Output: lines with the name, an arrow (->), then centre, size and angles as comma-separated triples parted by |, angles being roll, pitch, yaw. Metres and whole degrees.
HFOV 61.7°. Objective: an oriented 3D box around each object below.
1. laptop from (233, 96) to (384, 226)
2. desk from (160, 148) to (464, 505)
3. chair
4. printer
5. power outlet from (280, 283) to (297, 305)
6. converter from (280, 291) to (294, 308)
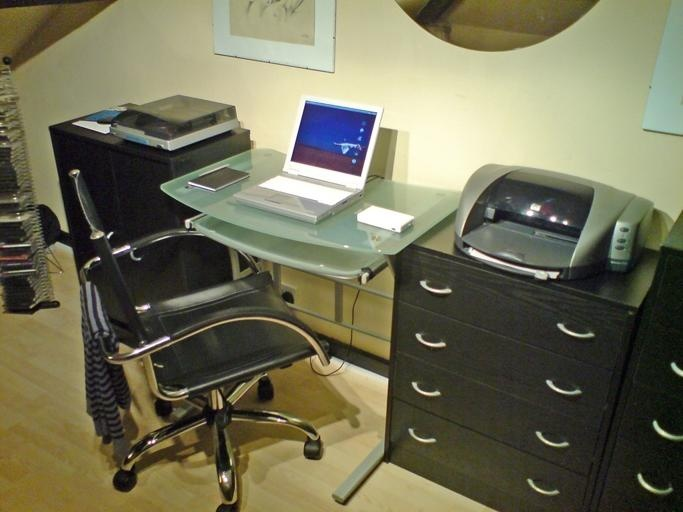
laptop -> -0.125, -0.372, 2.479 | 0.530, 0.434, 0.603 | 22, 41, 29
desk -> -0.017, 0.487, 3.063 | 1.900, 0.943, 1.180 | 23, 42, 29
chair -> -0.608, 0.391, 2.474 | 0.815, 1.095, 0.808 | -16, 48, -22
printer -> 0.737, -0.118, 2.056 | 0.624, 0.278, 0.385 | 15, 28, 25
power outlet -> -0.301, 0.212, 3.171 | 0.104, 0.033, 0.076 | 35, 23, 35
converter -> -0.297, 0.236, 3.145 | 0.071, 0.068, 0.072 | -1, 32, 10
